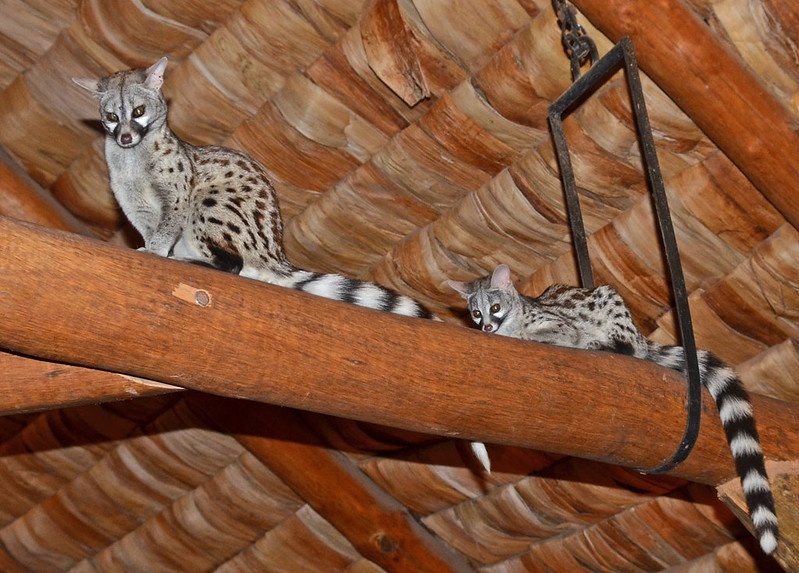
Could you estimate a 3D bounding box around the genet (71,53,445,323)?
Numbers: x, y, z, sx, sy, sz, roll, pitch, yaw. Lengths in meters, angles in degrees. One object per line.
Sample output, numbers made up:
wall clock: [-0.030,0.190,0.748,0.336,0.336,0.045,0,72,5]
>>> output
genet: [-0.850,-0.500,3.970,1.942,1.158,0.471,30,4,22]
